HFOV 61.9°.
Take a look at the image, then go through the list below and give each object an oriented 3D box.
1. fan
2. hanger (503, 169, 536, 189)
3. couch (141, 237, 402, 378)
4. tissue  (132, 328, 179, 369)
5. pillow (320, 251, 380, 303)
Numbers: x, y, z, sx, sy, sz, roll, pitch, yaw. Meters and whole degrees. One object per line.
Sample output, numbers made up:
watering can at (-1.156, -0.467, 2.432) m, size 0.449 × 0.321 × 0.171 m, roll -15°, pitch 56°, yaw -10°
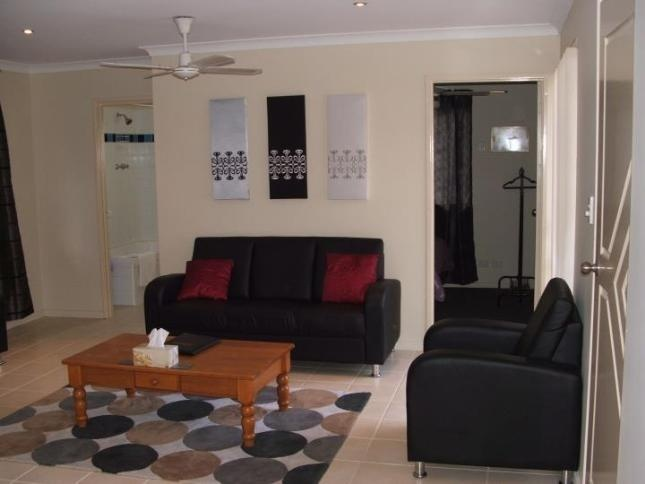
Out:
fan at (-1.083, -1.516, 4.211) m, size 1.126 × 0.420 × 1.151 m, roll -12°, pitch 28°, yaw -30°
hanger at (2.671, -0.858, 7.281) m, size 0.347 × 0.236 × 0.040 m, roll 1°, pitch -6°, yaw 14°
couch at (-0.462, 0.544, 5.130) m, size 2.323 × 1.095 × 0.925 m, roll 0°, pitch 5°, yaw 16°
tissue  at (-1.145, 0.716, 3.683) m, size 0.272 × 0.232 × 0.145 m, roll 1°, pitch 8°, yaw 9°
pillow at (0.245, 0.339, 4.961) m, size 0.515 × 0.409 × 0.340 m, roll 0°, pitch 9°, yaw 9°
